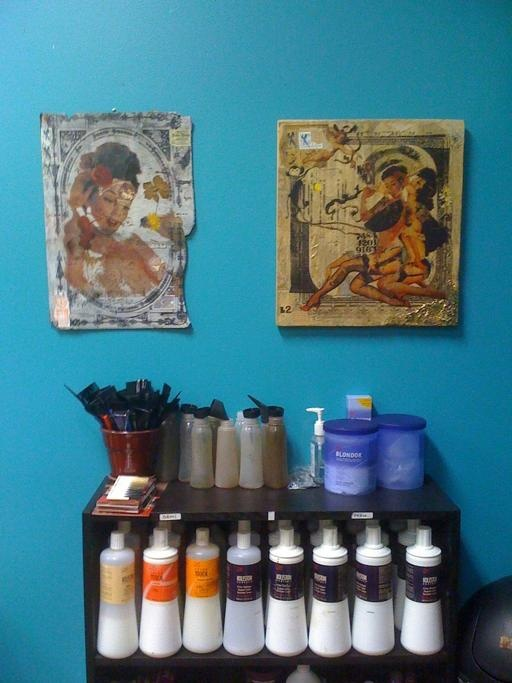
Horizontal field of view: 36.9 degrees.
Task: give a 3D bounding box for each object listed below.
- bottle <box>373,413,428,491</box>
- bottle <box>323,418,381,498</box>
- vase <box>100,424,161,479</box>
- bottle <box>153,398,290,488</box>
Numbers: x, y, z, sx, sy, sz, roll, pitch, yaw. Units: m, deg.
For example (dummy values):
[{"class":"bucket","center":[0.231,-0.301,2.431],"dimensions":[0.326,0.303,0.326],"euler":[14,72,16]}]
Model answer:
[{"class":"bottle","center":[0.342,0.266,1.906],"dimensions":[0.163,0.158,0.148],"euler":[1,6,14]},{"class":"bottle","center":[0.218,0.272,1.862],"dimensions":[0.161,0.160,0.155],"euler":[1,4,13]},{"class":"vase","center":[-0.293,0.250,1.795],"dimensions":[0.128,0.088,0.125],"euler":[2,-2,-8]},{"class":"bottle","center":[-0.092,0.250,1.851],"dimensions":[0.228,0.128,0.223],"euler":[-1,-2,0]}]
